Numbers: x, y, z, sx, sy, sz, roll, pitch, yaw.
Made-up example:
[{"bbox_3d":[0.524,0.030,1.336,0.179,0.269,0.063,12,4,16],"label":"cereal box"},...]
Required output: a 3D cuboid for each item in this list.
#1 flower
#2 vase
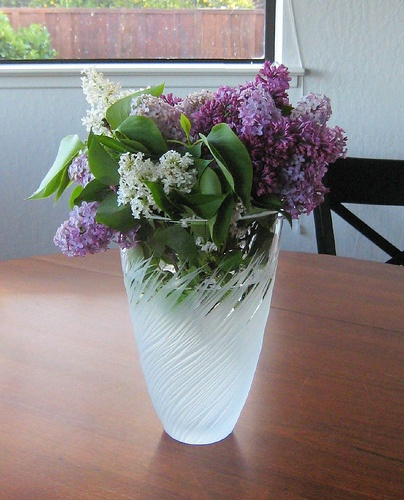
[{"bbox_3d":[-0.001,-0.049,0.362,0.178,0.098,0.172,-11,14,-28],"label":"flower"},{"bbox_3d":[0.001,0.077,0.433,0.142,0.181,0.128,3,6,1],"label":"vase"}]
